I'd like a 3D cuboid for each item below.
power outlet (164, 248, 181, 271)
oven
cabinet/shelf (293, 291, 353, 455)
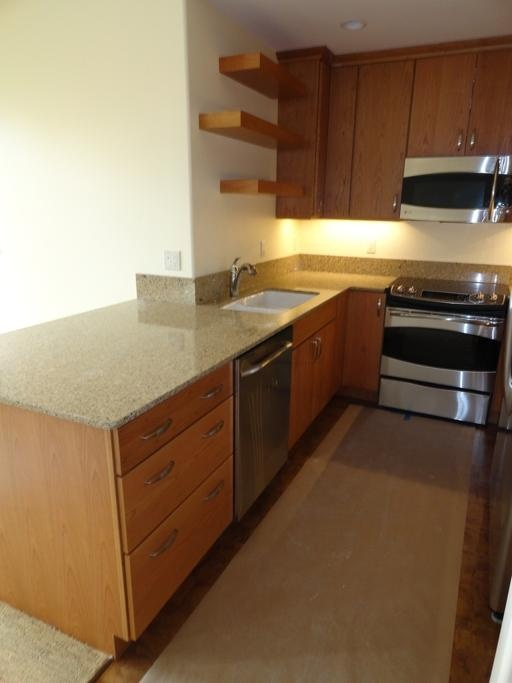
[{"bbox_3d":[-0.406,-0.406,2.484,0.080,0.095,0.012,15,28,25],"label":"power outlet"},{"bbox_3d":[1.081,0.072,3.262,0.741,1.005,0.605,7,17,26],"label":"oven"},{"bbox_3d":[0.365,0.172,2.833,0.348,0.499,0.673,7,28,25],"label":"cabinet/shelf"}]
